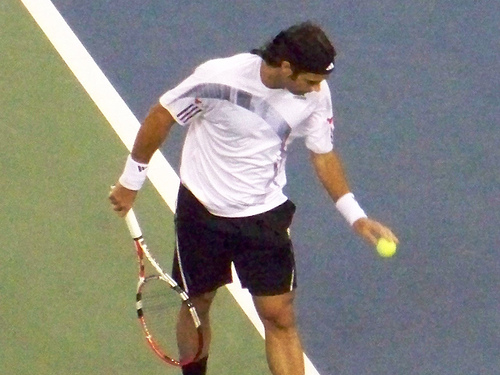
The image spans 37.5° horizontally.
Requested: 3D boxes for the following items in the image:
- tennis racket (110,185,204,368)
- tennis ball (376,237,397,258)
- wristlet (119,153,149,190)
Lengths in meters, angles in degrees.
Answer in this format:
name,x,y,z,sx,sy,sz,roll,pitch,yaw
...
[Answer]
name,x,y,z,sx,sy,sz,roll,pitch,yaw
tennis racket,-0.737,0.742,5.732,0.569,0.114,1.619,-42,67,36
tennis ball,0.979,0.422,5.319,0.118,0.067,0.134,-6,85,10
wristlet,-0.822,-0.107,5.274,0.199,0.232,0.210,-8,29,-15
